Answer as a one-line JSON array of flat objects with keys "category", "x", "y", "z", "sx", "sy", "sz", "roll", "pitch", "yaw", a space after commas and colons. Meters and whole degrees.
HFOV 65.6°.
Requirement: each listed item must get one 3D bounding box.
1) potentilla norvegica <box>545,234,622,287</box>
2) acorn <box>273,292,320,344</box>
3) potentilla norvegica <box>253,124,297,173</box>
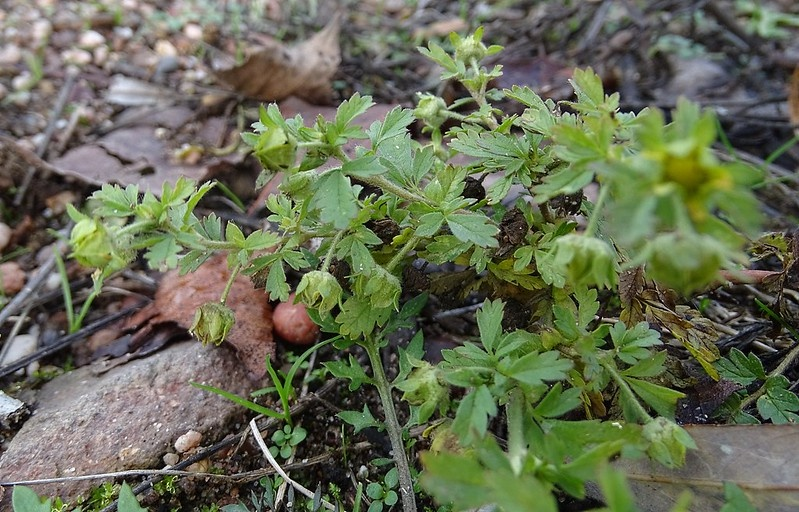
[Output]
[{"category": "potentilla norvegica", "x": 0.728, "y": 0.016, "z": 2.445, "sx": 0.238, "sy": 0.177, "sz": 0.229, "roll": 20, "pitch": 18, "yaw": -22}, {"category": "acorn", "x": -0.572, "y": 0.347, "z": 3.376, "sx": 0.276, "sy": 0.151, "sz": 0.214, "roll": 38, "pitch": 37, "yaw": 23}, {"category": "potentilla norvegica", "x": -0.522, "y": -0.471, "z": 2.661, "sx": 0.183, "sy": 0.170, "sz": 0.201, "roll": -8, "pitch": 17, "yaw": 11}]
